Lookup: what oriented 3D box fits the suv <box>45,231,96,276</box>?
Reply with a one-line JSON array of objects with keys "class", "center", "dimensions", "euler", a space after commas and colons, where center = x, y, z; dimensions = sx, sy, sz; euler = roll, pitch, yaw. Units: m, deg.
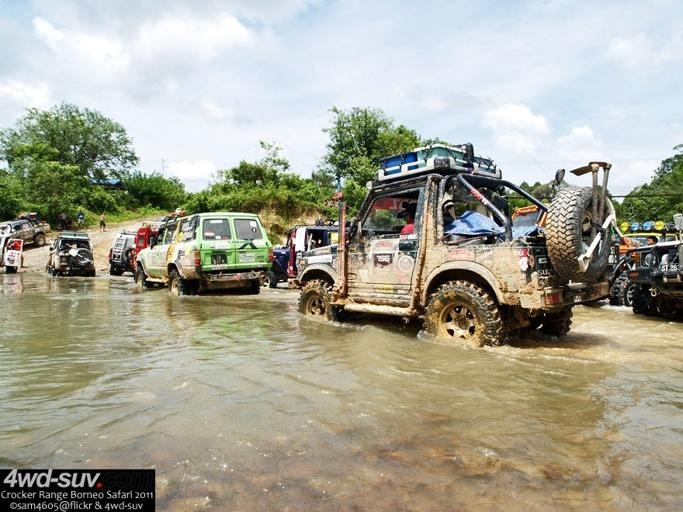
[{"class": "suv", "center": [-13.379, -0.098, 21.112], "dimensions": [2.302, 2.193, 1.624], "euler": [2, 3, 44]}]

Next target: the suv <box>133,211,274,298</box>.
[{"class": "suv", "center": [-4.308, -0.169, 13.236], "dimensions": [2.292, 1.728, 3.909], "euler": [0, 5, -36]}]

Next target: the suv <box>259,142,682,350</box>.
[{"class": "suv", "center": [2.126, -0.155, 7.503], "dimensions": [5.007, 2.942, 2.812], "euler": [5, 3, 45]}]
